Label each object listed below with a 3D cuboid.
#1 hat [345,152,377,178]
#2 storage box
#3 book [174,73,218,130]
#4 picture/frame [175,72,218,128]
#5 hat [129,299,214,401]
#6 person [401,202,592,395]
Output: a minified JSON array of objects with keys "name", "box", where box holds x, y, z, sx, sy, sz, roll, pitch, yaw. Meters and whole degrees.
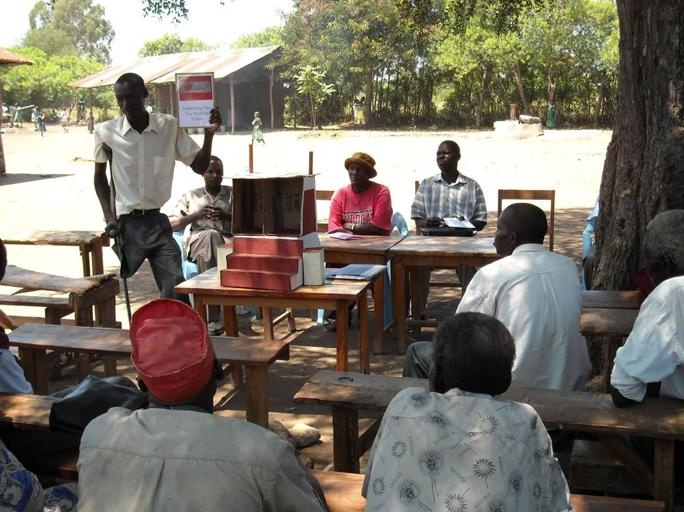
[{"name":"hat","box":[0.204,-0.985,7.182,0.311,0.283,0.461,-2,10,-1]},{"name":"storage box","box":[-0.548,-0.371,5.109,0.582,0.441,0.316,0,0,-4]},{"name":"book","box":[-1.161,-1.231,5.285,0.313,0.427,0.020,-1,3,6]},{"name":"picture/frame","box":[-1.166,-1.252,5.292,0.300,0.435,0.284,-4,11,-13]},{"name":"hat","box":[-0.716,0.394,2.778,0.314,0.169,0.445,-14,40,-16]},{"name":"person","box":[1.015,0.409,4.358,0.855,1.525,1.162,-9,17,-26]}]
